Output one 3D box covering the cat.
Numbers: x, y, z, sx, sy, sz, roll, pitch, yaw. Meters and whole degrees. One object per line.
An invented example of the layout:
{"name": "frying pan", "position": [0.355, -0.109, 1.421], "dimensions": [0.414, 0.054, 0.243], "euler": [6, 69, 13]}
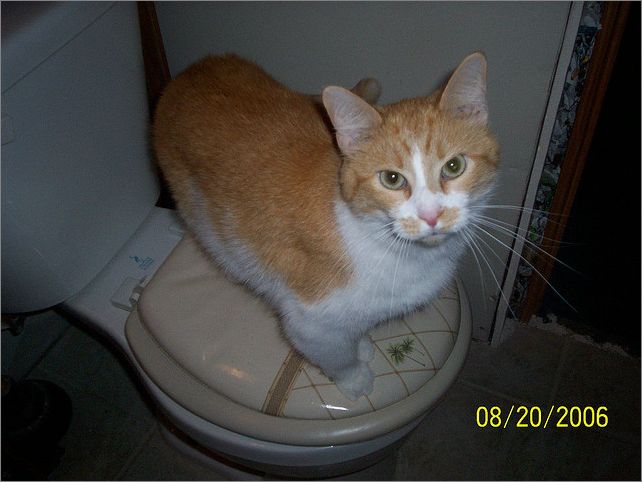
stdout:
{"name": "cat", "position": [-0.019, -0.107, 1.301], "dimensions": [0.813, 0.667, 0.446], "euler": [25, 46, 38]}
